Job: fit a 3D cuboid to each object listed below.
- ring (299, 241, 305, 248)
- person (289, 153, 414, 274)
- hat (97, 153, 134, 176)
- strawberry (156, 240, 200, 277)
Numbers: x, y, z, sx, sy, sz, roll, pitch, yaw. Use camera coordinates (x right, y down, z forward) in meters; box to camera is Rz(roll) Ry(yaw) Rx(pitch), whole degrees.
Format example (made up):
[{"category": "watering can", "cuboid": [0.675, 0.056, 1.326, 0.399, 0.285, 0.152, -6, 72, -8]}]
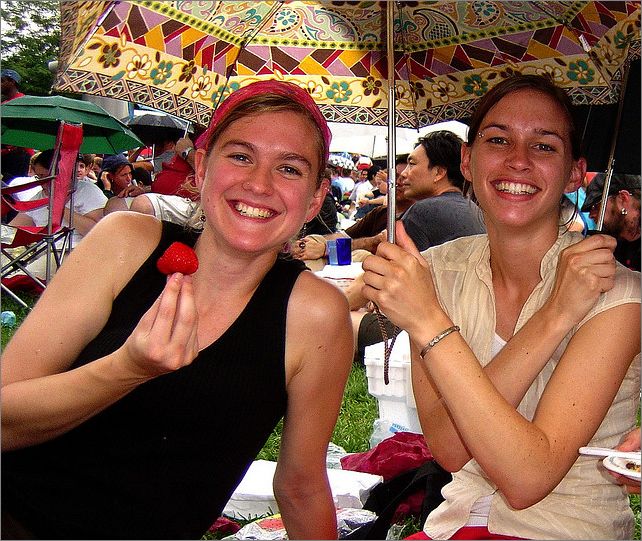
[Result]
[{"category": "ring", "cuboid": [-0.213, -0.277, 4.944, 0.014, 0.060, 0.057, 2, 27, 23]}, {"category": "person", "cuboid": [0.136, -0.415, 5.777, 1.837, 1.005, 1.067, -17, -23, 30]}, {"category": "hat", "cuboid": [-3.714, -1.940, 8.075, 0.430, 0.420, 0.622, -18, 11, -4]}, {"category": "strawberry", "cuboid": [-0.458, -0.032, 1.476, 0.131, 0.142, 0.083, 5, -18, 4]}]
